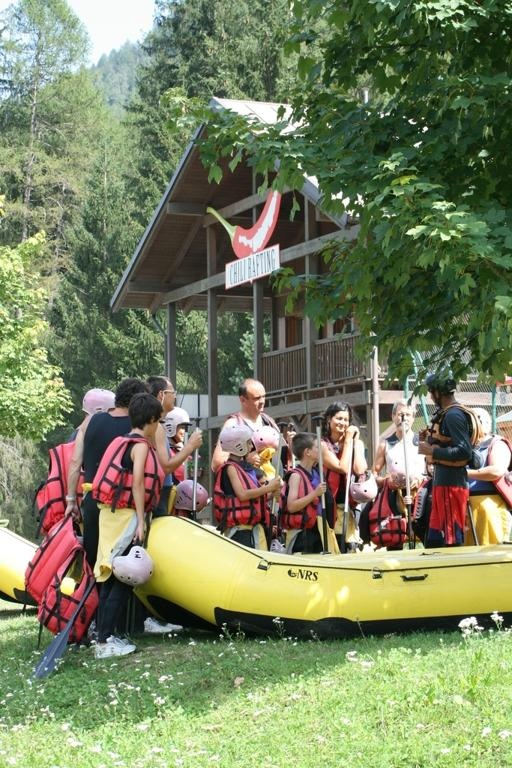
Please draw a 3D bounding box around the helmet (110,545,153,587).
[{"bbox_3d":[-0.762,1.120,4.421,0.237,0.240,0.218,-7,-6,-13],"label":"helmet"}]

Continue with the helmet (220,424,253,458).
[{"bbox_3d":[-0.169,0.434,5.666,0.263,0.248,0.208,-9,15,-6],"label":"helmet"}]

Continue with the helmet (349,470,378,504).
[{"bbox_3d":[0.914,0.889,6.168,0.206,0.185,0.272,-1,19,7],"label":"helmet"}]

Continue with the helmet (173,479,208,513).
[{"bbox_3d":[-0.551,0.950,6.079,0.269,0.231,0.301,-6,22,-11],"label":"helmet"}]

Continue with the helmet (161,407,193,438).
[{"bbox_3d":[-0.700,0.326,6.292,0.265,0.243,0.202,-2,-9,-1],"label":"helmet"}]
